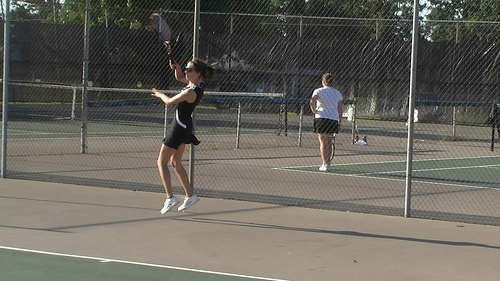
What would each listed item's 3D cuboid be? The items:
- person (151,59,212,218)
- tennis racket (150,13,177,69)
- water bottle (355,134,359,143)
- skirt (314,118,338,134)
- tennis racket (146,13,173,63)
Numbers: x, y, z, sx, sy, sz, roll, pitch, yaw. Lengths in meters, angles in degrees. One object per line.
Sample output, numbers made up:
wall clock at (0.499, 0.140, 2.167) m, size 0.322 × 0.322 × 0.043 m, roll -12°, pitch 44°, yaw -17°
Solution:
person at (-1.463, -0.092, 12.833) m, size 1.050 × 3.316 × 1.399 m, roll 2°, pitch 6°, yaw -7°
tennis racket at (-1.793, -2.276, 13.113) m, size 0.554 × 1.341 × 0.662 m, roll 0°, pitch 0°, yaw -20°
water bottle at (3.996, -0.083, 22.142) m, size 0.115 × 0.279 × 0.522 m, roll 3°, pitch 6°, yaw 9°
skirt at (2.099, -0.412, 16.376) m, size 0.680 × 0.422 × 0.366 m, roll 2°, pitch -13°, yaw 2°
tennis racket at (-1.868, -2.282, 13.476) m, size 0.421 × 0.100 × 1.494 m, roll 6°, pitch -31°, yaw 14°
